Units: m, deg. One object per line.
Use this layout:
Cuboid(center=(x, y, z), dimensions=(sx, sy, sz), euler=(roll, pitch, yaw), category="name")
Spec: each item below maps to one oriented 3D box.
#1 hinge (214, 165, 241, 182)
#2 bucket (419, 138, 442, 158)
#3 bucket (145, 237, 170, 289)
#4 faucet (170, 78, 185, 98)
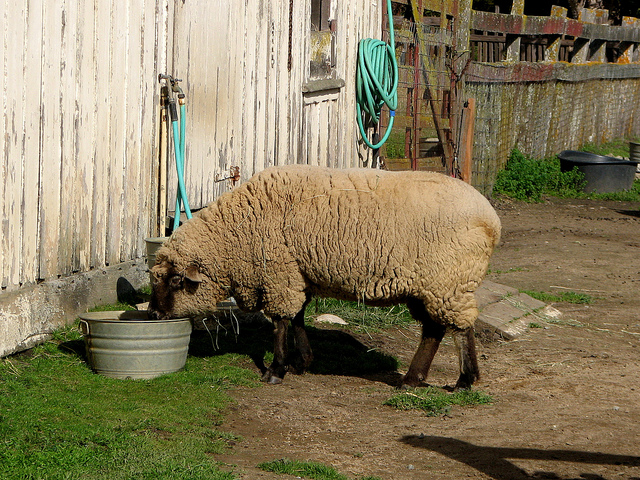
Cuboid(center=(-1.049, -0.760, 11.017), dimensions=(0.151, 0.126, 0.249), euler=(2, 12, 16), category="hinge")
Cuboid(center=(1.913, -1.573, 16.504), dimensions=(0.438, 0.327, 0.320), euler=(-1, 4, 0), category="bucket")
Cuboid(center=(-1.483, 0.201, 9.458), dimensions=(0.372, 0.544, 0.396), euler=(1, 0, 0), category="bucket")
Cuboid(center=(-1.493, -1.589, 10.011), dimensions=(0.148, 0.178, 0.343), euler=(2, 14, -10), category="faucet")
